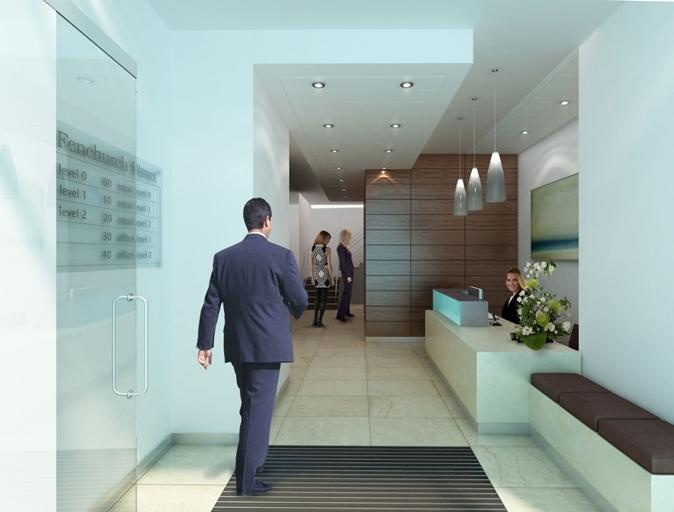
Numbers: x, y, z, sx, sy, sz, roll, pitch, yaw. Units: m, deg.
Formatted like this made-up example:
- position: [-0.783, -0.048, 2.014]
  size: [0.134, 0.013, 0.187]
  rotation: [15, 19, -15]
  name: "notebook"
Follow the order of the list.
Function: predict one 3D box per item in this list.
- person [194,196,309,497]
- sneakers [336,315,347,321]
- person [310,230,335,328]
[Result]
- position: [-0.594, 0.645, 3.378]
  size: [0.786, 2.120, 0.246]
  rotation: [0, 3, 9]
  name: "person"
- position: [0.134, 1.501, 11.322]
  size: [0.084, 0.116, 0.263]
  rotation: [1, -7, -17]
  name: "sneakers"
- position: [-0.333, 0.490, 10.330]
  size: [0.411, 2.090, 0.677]
  rotation: [-1, 3, -3]
  name: "person"
